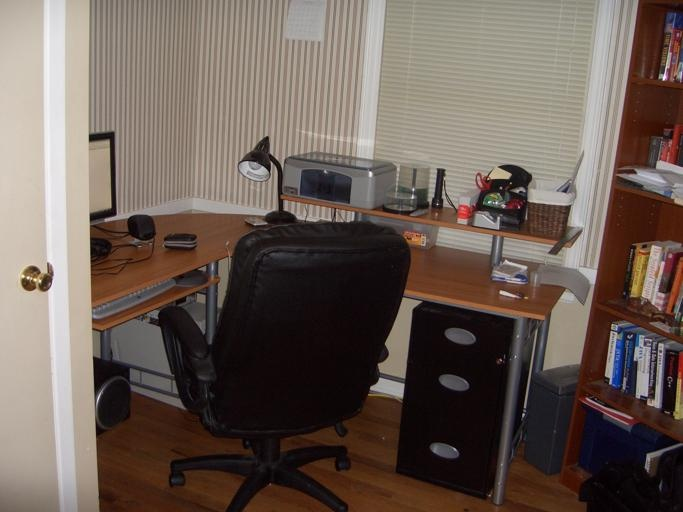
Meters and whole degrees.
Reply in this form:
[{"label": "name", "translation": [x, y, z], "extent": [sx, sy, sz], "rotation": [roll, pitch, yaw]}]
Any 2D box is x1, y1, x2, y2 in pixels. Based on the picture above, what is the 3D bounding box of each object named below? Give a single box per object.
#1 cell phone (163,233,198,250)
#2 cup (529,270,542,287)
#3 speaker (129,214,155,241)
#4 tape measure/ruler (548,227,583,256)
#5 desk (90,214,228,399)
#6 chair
[{"label": "cell phone", "translation": [-0.825, -0.077, 2.981], "extent": [0.119, 0.047, 0.091], "rotation": [1, 14, -5]}, {"label": "cup", "translation": [0.969, 0.112, 2.943], "extent": [0.070, 0.075, 0.068], "rotation": [0, 14, 0]}, {"label": "speaker", "translation": [-1.000, -0.139, 2.928], "extent": [0.074, 0.125, 0.129], "rotation": [-2, 4, 31]}, {"label": "tape measure/ruler", "translation": [1.135, -0.092, 2.968], "extent": [0.110, 0.039, 0.539], "rotation": [8, 12, 26]}, {"label": "desk", "translation": [-0.878, 0.243, 2.771], "extent": [0.931, 0.443, 0.558], "rotation": [9, 17, 32]}, {"label": "chair", "translation": [-0.213, 0.308, 2.255], "extent": [0.910, 0.907, 0.401], "rotation": [-1, 18, -11]}]
